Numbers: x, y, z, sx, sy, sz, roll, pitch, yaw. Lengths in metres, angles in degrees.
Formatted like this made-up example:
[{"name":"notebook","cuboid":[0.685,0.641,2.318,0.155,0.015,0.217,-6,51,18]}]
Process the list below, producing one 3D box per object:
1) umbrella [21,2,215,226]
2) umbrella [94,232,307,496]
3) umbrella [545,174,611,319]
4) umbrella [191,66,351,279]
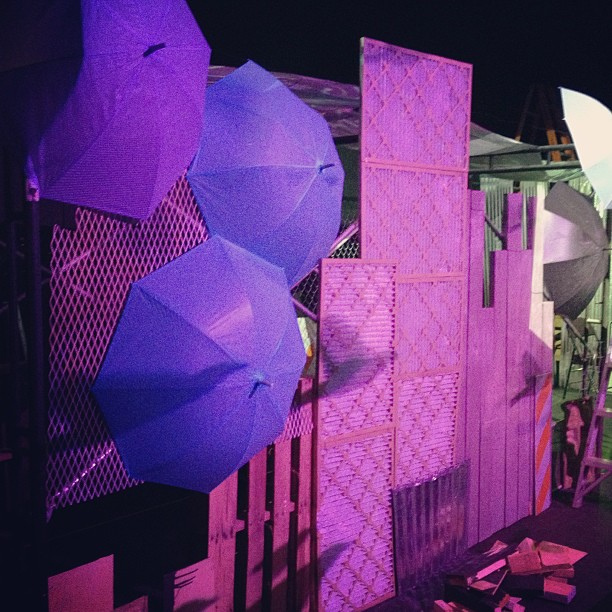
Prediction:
[{"name":"umbrella","cuboid":[-1.020,-1.165,4.579,0.851,1.194,1.232,20,25,20]},{"name":"umbrella","cuboid":[-0.711,0.340,4.895,1.465,1.568,0.653,-2,6,-44]},{"name":"umbrella","cuboid":[3.658,-0.813,10.522,0.656,1.669,1.568,6,-4,24]},{"name":"umbrella","cuboid":[-0.247,-0.983,5.781,0.616,1.452,1.337,-2,-6,32]}]
